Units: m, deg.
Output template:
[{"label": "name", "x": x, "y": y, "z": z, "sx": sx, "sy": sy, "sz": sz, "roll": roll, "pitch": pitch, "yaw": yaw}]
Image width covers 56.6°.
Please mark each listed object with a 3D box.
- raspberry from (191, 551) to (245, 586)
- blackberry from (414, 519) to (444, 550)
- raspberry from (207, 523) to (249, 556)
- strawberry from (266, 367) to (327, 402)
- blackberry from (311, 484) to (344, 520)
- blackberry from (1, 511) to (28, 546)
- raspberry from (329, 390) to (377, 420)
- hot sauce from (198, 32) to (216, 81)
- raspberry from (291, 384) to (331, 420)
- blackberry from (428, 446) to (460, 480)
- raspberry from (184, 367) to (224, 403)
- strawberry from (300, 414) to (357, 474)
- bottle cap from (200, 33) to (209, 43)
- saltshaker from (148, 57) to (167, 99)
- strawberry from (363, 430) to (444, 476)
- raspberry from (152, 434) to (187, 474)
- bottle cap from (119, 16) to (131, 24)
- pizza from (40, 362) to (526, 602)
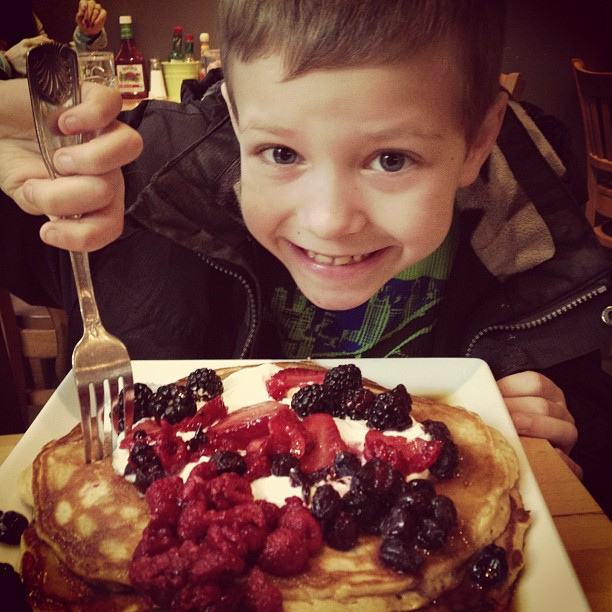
[{"label": "raspberry", "x": -0.127, "y": 0.369, "z": 0.814, "sx": 0.054, "sy": 0.041, "sz": 0.016, "roll": -2, "pitch": 34, "yaw": -11}, {"label": "blackberry", "x": 0.196, "y": 0.357, "z": 0.900, "sx": 0.043, "sy": 0.044, "sz": 0.015, "roll": 5, "pitch": 2, "yaw": 17}, {"label": "raspberry", "x": -0.118, "y": 0.345, "z": 0.849, "sx": 0.066, "sy": 0.016, "sz": 0.038, "roll": 24, "pitch": 44, "yaw": 25}, {"label": "strawberry", "x": -0.026, "y": 0.157, "z": 1.267, "sx": 0.128, "sy": 0.060, "sz": 0.107, "roll": 17, "pitch": 23, "yaw": 41}, {"label": "blackberry", "x": 0.039, "y": 0.313, "z": 0.927, "sx": 0.040, "sy": 0.033, "sz": 0.051, "roll": -12, "pitch": 9, "yaw": 23}, {"label": "blackberry", "x": -0.482, "y": 0.359, "z": 0.930, "sx": 0.039, "sy": 0.019, "sz": 0.050, "roll": 1, "pitch": 39, "yaw": -1}, {"label": "raspberry", "x": 0.090, "y": 0.180, "z": 1.131, "sx": 0.057, "sy": 0.037, "sz": 0.078, "roll": 1, "pitch": 10, "yaw": 12}, {"label": "hot sauce", "x": -0.474, "y": -1.170, "z": 2.720, "sx": 0.063, "sy": 0.236, "sz": 0.060, "roll": 11, "pitch": 30, "yaw": 21}, {"label": "raspberry", "x": 0.012, "y": 0.185, "z": 1.135, "sx": 0.060, "sy": 0.051, "sz": 0.071, "roll": -6, "pitch": 4, "yaw": 7}, {"label": "blackberry", "x": 0.260, "y": 0.275, "z": 1.026, "sx": 0.042, "sy": 0.054, "sz": 0.018, "roll": 2, "pitch": 8, "yaw": -11}, {"label": "raspberry", "x": -0.210, "y": 0.160, "z": 1.181, "sx": 0.062, "sy": 0.033, "sz": 0.069, "roll": 6, "pitch": 60, "yaw": 6}, {"label": "strawberry", "x": 0.034, "y": 0.252, "z": 1.054, "sx": 0.079, "sy": 0.084, "sz": 0.108, "roll": -3, "pitch": 17, "yaw": -27}, {"label": "bottle cap", "x": -0.498, "y": -1.317, "z": 2.809, "sx": 0.053, "sy": 0.050, "sz": 0.052, "roll": 0, "pitch": 18, "yaw": -1}, {"label": "saltshaker", "x": -0.702, "y": -1.118, "z": 2.809, "sx": 0.077, "sy": 0.183, "sz": 0.077, "roll": -3, "pitch": 24, "yaw": 18}, {"label": "strawberry", "x": 0.172, "y": 0.248, "z": 1.028, "sx": 0.088, "sy": 0.036, "sz": 0.091, "roll": 0, "pitch": 9, "yaw": 28}, {"label": "raspberry", "x": -0.253, "y": 0.264, "z": 1.050, "sx": 0.066, "sy": 0.064, "sz": 0.023, "roll": 1, "pitch": -23, "yaw": -47}, {"label": "bottle cap", "x": -0.624, "y": -0.990, "z": 1.975, "sx": 0.033, "sy": 0.020, "sz": 0.034, "roll": 17, "pitch": 37, "yaw": 29}, {"label": "pizza", "x": -0.043, "y": 0.268, "z": 1.020, "sx": 0.863, "sy": 0.112, "sz": 0.547, "roll": 6, "pitch": 39, "yaw": 4}]
